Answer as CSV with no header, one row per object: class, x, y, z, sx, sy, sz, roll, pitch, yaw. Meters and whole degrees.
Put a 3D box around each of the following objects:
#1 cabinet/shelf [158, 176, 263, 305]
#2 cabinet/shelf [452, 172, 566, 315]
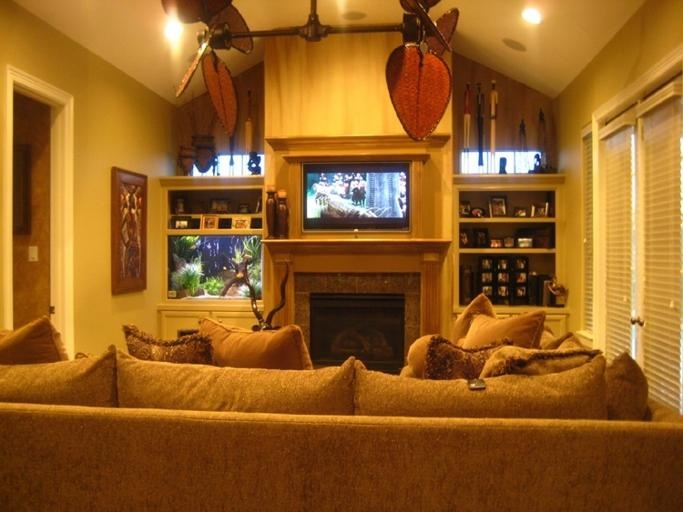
cabinet/shelf,-1.440,-0.115,6.765,1.225,1.795,0.438,0,-3,-1
cabinet/shelf,1.657,-0.065,6.420,1.112,1.476,0.453,3,-6,23
